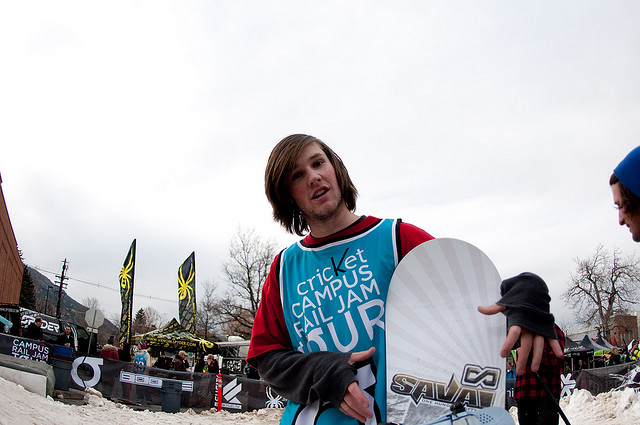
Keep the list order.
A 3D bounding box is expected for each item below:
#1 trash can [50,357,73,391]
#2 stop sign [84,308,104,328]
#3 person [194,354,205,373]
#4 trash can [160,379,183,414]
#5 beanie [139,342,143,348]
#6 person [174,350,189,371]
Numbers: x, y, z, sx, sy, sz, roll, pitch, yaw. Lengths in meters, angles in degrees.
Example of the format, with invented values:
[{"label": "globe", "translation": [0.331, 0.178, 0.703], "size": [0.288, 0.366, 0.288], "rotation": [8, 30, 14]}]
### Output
[{"label": "trash can", "translation": [-6.478, 4.001, 9.336], "size": [0.506, 0.735, 0.511], "rotation": [-11, -26, 44]}, {"label": "stop sign", "translation": [-6.596, 3.075, 10.891], "size": [0.459, 0.521, 0.853], "rotation": [14, -23, -24]}, {"label": "person", "translation": [-4.320, 5.501, 13.492], "size": [0.282, 0.459, 0.748], "rotation": [10, -22, -15]}, {"label": "trash can", "translation": [-4.128, 5.100, 10.369], "size": [0.526, 0.825, 0.560], "rotation": [4, -15, -9]}, {"label": "beanie", "translation": [-6.030, 4.459, 12.556], "size": [0.050, 0.143, 0.343], "rotation": [20, -4, -24]}, {"label": "person", "translation": [-4.547, 4.870, 12.217], "size": [0.410, 0.599, 1.044], "rotation": [11, -22, -18]}]
